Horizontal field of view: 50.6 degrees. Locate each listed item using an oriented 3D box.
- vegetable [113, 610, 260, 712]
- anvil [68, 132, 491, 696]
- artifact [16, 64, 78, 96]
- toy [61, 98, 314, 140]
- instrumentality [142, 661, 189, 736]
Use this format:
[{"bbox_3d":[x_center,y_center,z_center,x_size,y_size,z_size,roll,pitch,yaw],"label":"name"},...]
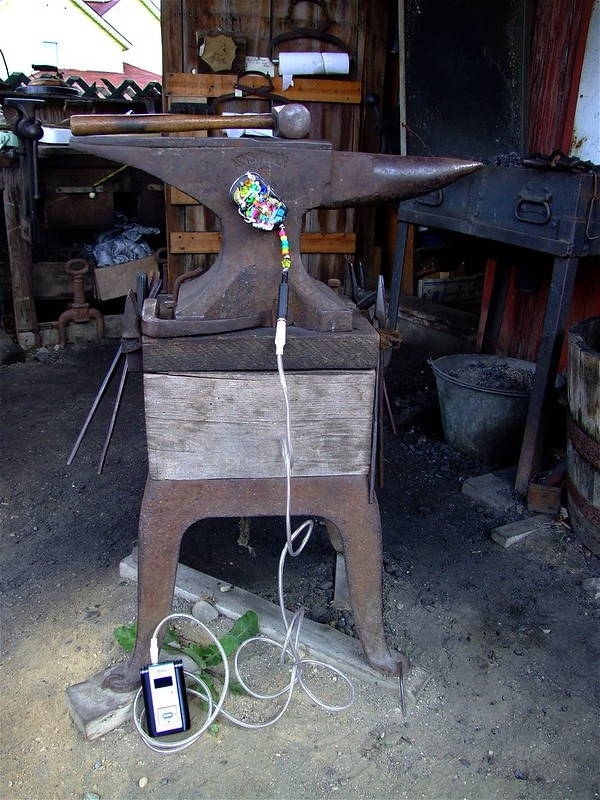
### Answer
[{"bbox_3d":[-0.249,0.629,1.603,0.203,0.060,0.227,15,28,-31],"label":"vegetable"},{"bbox_3d":[0.127,-0.008,1.794,1.011,1.415,0.922,0,9,-4],"label":"anvil"},{"bbox_3d":[-1.560,-2.017,4.002,0.307,0.213,1.090,-5,24,-17],"label":"artifact"},{"bbox_3d":[-0.226,-0.586,1.331,0.479,0.079,0.164,-4,24,-14],"label":"toy"},{"bbox_3d":[-0.294,0.667,1.390,0.089,0.062,0.154,-2,45,-20],"label":"instrumentality"}]
